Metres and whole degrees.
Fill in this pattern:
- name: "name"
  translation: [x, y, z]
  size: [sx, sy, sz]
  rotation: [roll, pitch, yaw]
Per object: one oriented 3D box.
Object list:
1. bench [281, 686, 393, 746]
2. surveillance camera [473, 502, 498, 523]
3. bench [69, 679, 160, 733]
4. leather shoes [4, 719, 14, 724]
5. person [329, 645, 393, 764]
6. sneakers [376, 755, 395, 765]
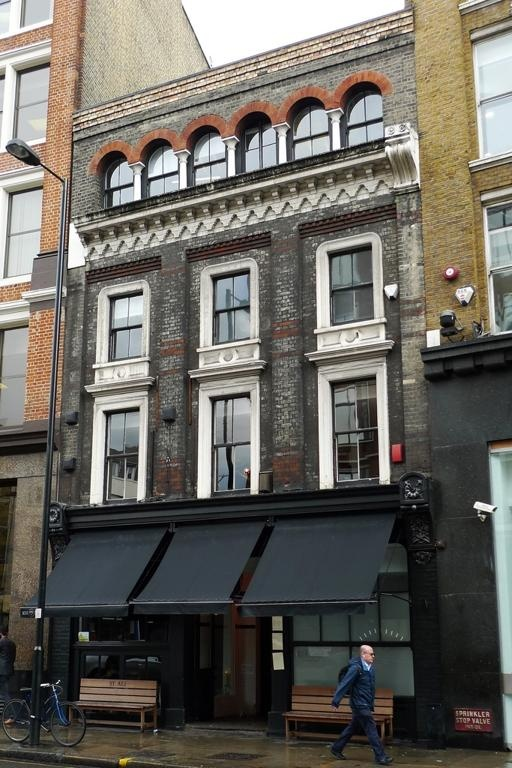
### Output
- name: "bench"
  translation: [1.258, 5.185, 14.556]
  size: [1.632, 0.839, 0.549]
  rotation: [-5, -15, 22]
- name: "surveillance camera"
  translation: [3.471, 1.938, 14.248]
  size: [0.358, 0.301, 0.261]
  rotation: [-6, -13, 14]
- name: "bench"
  translation: [-2.533, 5.727, 16.608]
  size: [1.502, 0.845, 0.525]
  rotation: [-6, -12, 23]
- name: "leather shoes"
  translation: [-4.249, 5.845, 16.171]
  size: [0.151, 0.061, 0.192]
  rotation: [-9, -2, 6]
- name: "person"
  translation: [1.382, 4.386, 12.776]
  size: [0.791, 1.510, 0.845]
  rotation: [-3, -12, 0]
- name: "sneakers"
  translation: [1.696, 5.003, 12.433]
  size: [0.245, 0.121, 0.099]
  rotation: [-5, -6, -1]
